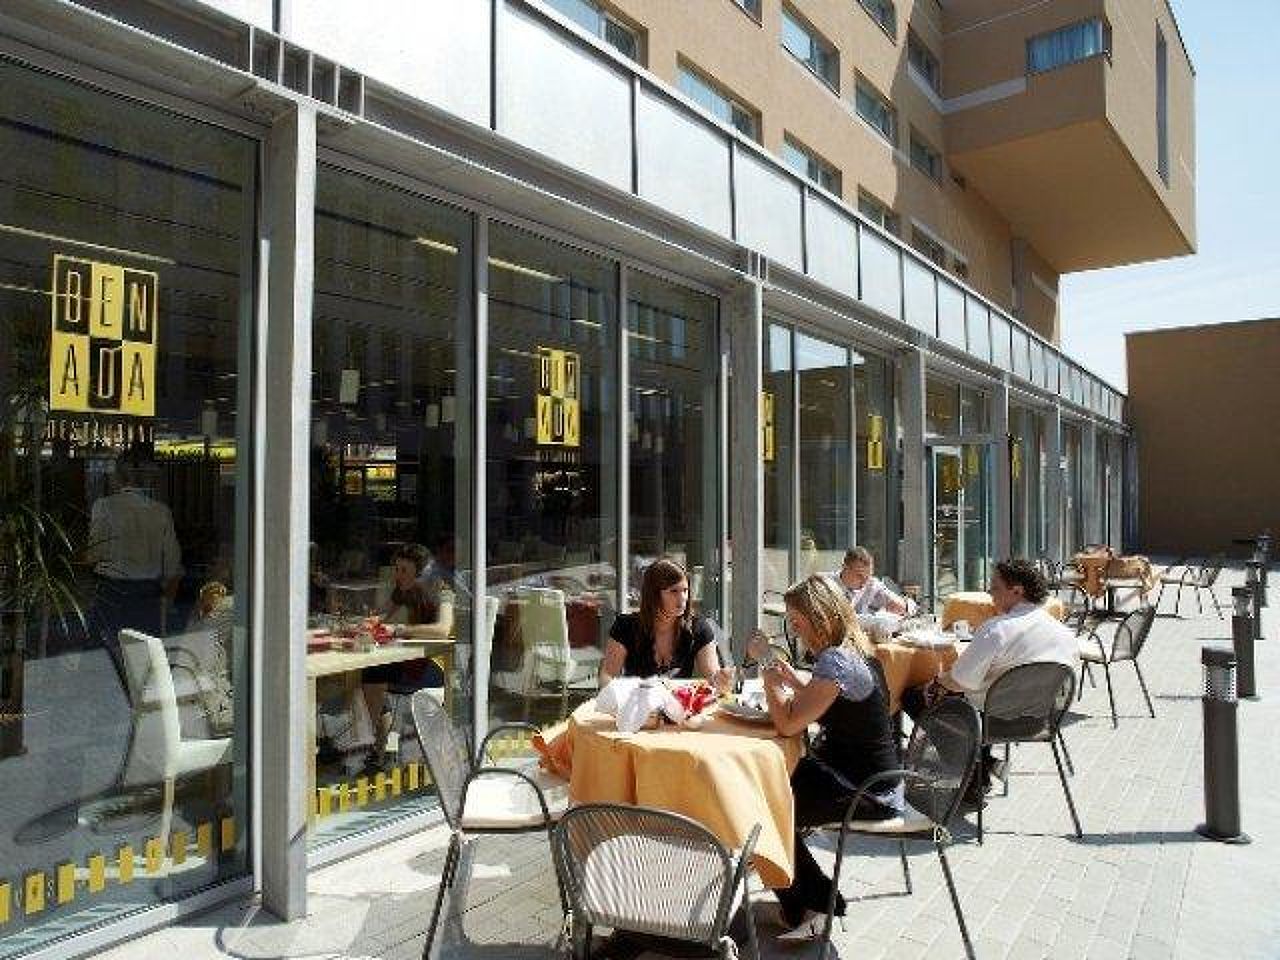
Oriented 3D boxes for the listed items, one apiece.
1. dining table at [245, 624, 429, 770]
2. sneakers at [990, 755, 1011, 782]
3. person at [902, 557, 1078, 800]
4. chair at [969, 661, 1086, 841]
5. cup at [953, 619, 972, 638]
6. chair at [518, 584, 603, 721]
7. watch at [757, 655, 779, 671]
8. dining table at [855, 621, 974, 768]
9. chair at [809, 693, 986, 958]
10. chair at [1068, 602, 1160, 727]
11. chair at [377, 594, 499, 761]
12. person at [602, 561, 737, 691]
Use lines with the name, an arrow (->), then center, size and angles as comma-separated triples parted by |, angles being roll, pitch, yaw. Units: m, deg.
dining table -> -1.808, 1.475, 7.077 | 0.966, 0.714, 0.560 | -3, 9, -33
sneakers -> 2.625, 2.107, 7.527 | 0.153, 0.149, 0.298 | -16, -17, 3
person -> 2.613, 1.421, 7.524 | 0.795, 1.725, 0.979 | 3, 1, -39
chair -> 2.839, 1.852, 7.470 | 0.609, 1.148, 1.271 | -3, -4, 23
cup -> 2.604, 1.223, 8.372 | 0.127, 0.151, 0.142 | -2, 2, -9
chair -> -0.640, 1.371, 8.197 | 0.511, 1.063, 0.600 | 3, 3, 40
watch -> 0.727, 1.049, 5.877 | 0.068, 0.053, 0.076 | -7, -17, 20
dining table -> 1.928, 1.744, 7.987 | 0.936, 1.041, 0.937 | -10, 0, -44
chair -> 1.392, 2.051, 6.359 | 1.066, 2.001, 1.264 | 1, -7, 1
chair -> 4.443, 1.719, 9.890 | 0.584, 1.119, 0.702 | 0, 2, -39
chair -> -1.488, 1.366, 7.728 | 0.654, 1.359, 0.697 | -14, -24, 41
person -> 0.133, 0.936, 6.864 | 0.712, 1.181, 0.725 | 2, -8, -24
